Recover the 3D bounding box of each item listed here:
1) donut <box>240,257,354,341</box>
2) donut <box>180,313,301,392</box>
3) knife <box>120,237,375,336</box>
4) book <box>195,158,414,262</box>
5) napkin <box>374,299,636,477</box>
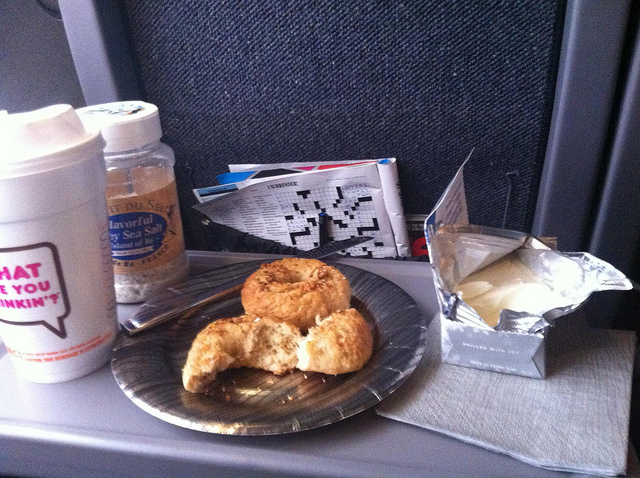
[{"bbox_3d":[-0.061,0.071,0.743,0.131,0.038,0.119,-10,17,32],"label":"donut"},{"bbox_3d":[-0.106,0.142,0.620,0.175,0.050,0.086,-8,28,-9],"label":"donut"},{"bbox_3d":[-0.118,0.078,0.734,0.404,0.016,0.052,-17,35,-26],"label":"knife"},{"bbox_3d":[-0.047,-0.067,0.862,0.334,0.083,0.215,-4,20,-10],"label":"book"},{"bbox_3d":[0.219,0.185,0.544,0.228,0.028,0.204,4,30,26],"label":"napkin"}]
